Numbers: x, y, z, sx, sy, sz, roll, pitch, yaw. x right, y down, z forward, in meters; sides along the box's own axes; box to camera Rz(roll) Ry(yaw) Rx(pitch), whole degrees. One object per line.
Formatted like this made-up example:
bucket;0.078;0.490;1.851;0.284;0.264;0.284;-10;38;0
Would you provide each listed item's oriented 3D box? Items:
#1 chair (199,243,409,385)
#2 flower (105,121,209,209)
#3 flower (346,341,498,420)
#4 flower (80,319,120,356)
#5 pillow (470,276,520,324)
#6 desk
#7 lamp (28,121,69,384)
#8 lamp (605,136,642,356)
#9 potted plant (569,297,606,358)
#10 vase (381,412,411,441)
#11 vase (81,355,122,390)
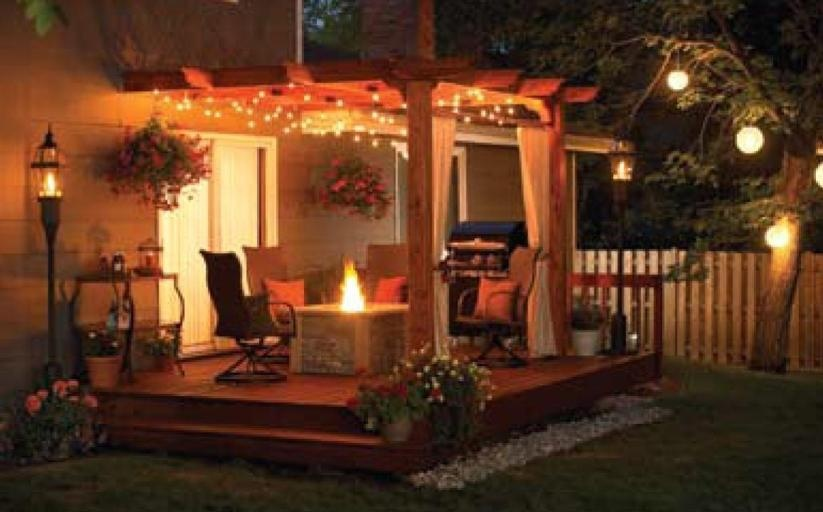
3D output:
chair;-1.463;0.758;12.300;2.755;1.711;2.915;1;2;5
flower;-3.621;-1.067;12.321;1.081;0.602;1.306;26;45;15
flower;0.109;1.505;9.869;1.653;0.778;0.553;0;2;-20
flower;-4.144;1.091;11.480;0.496;0.535;0.388;4;-29;-10
pillow;1.188;0.628;12.191;0.617;0.540;0.496;1;2;14
desk;-4.090;0.798;12.226;1.113;1.887;1.611;-1;-3;23
lamp;-4.687;0.038;11.175;0.547;3.322;0.584;-1;3;-15
lamp;3.437;-0.181;14.404;0.683;3.853;0.701;7;-12;-16
potted plant;2.684;1.122;13.751;0.776;1.017;0.724;1;-5;-7
vase;-0.173;1.872;9.581;0.296;0.223;0.273;5;-7;-33
vase;-4.008;1.487;11.191;0.391;0.333;0.407;0;-6;1
